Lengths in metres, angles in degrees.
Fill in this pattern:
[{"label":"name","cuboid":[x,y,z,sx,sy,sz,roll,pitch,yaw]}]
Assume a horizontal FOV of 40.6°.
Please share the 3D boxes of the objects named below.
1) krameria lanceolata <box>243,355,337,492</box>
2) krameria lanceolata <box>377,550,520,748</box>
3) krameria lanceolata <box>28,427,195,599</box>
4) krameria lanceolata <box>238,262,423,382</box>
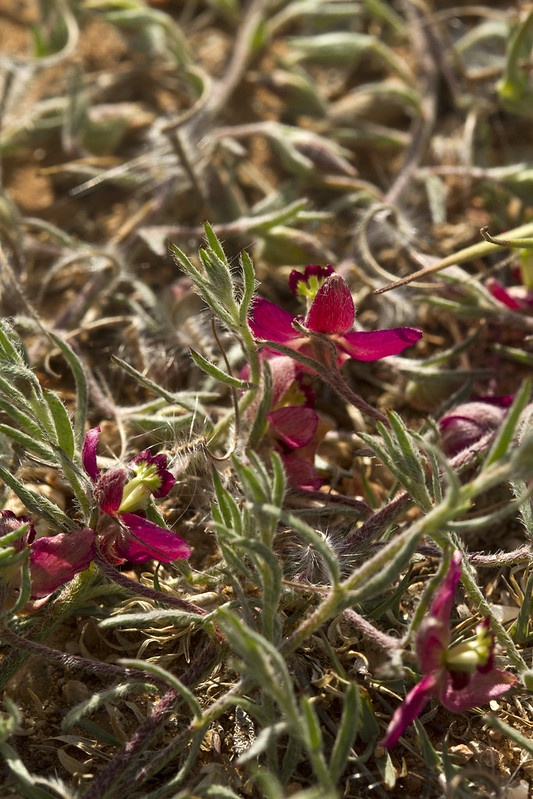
[{"label":"krameria lanceolata","cuboid":[0.000,0.032,0.983,0.076,0.152,0.167,-15,68,28]},{"label":"krameria lanceolata","cuboid":[0.187,0.256,0.729,0.119,0.184,0.072,-6,95,13]},{"label":"krameria lanceolata","cuboid":[-0.216,0.162,0.920,0.194,0.215,0.106,39,27,-28]},{"label":"krameria lanceolata","cuboid":[0.070,-0.087,0.950,0.178,0.103,0.161,-3,47,-42]}]
